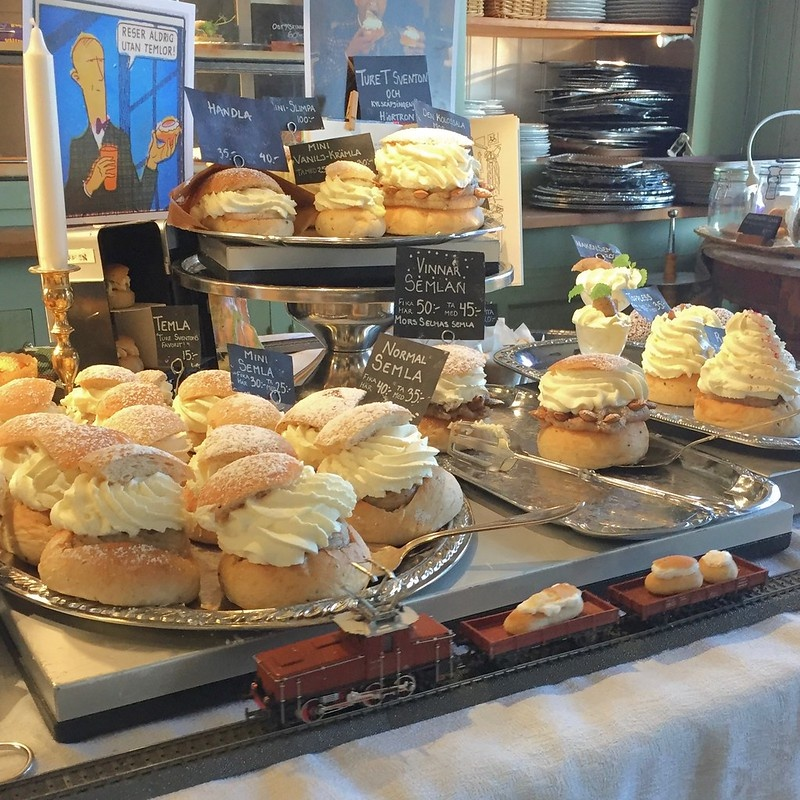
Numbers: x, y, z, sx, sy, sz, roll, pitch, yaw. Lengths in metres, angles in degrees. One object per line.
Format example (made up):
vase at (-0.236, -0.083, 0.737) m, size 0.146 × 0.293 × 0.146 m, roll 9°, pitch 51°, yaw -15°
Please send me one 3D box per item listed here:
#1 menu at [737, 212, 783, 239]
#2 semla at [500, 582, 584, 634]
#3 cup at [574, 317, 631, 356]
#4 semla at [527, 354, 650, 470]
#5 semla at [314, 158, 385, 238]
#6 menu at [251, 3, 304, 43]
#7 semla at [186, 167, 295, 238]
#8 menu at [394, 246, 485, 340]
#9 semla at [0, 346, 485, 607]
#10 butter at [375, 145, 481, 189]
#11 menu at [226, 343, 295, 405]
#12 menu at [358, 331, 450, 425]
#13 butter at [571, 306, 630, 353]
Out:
menu at (1.010, -0.486, 2.203) m, size 0.015 × 0.071 × 0.125 m, roll 18°, pitch 7°, yaw -36°
semla at (0.139, 0.202, 0.778) m, size 0.073 × 0.021 × 0.041 m, roll -14°, pitch 22°, yaw -31°
cup at (0.408, -0.129, 1.617) m, size 0.134 × 0.078 × 0.119 m, roll -3°, pitch 10°, yaw -14°
semla at (0.291, 0.020, 1.251) m, size 0.217 × 0.141 × 0.195 m, roll -10°, pitch 16°, yaw -32°
semla at (-0.091, -0.354, 1.427) m, size 0.204 × 0.135 × 0.166 m, roll -2°, pitch 10°, yaw -2°
menu at (-0.458, -1.423, 2.974) m, size 0.213 × 0.149 × 0.040 m, roll -11°, pitch 21°, yaw -27°
semla at (-0.276, -0.343, 1.379) m, size 0.203 × 0.086 × 0.185 m, roll -4°, pitch 12°, yaw -20°
menu at (0.059, -0.164, 1.207) m, size 0.222 × 0.151 × 0.009 m, roll -1°, pitch 15°, yaw -14°
semla at (-0.191, 0.075, 0.791) m, size 0.364 × 0.086 × 0.265 m, roll 3°, pitch 16°, yaw -1°
butter at (0.045, -0.433, 1.463) m, size 0.179 × 0.088 × 0.106 m, roll -2°, pitch 17°, yaw 1°
menu at (-0.221, -0.037, 1.228) m, size 0.149 × 0.081 × 0.007 m, roll 14°, pitch 34°, yaw 30°
menu at (0.010, -0.028, 1.148) m, size 0.155 × 0.137 × 0.007 m, roll 26°, pitch 5°, yaw 31°
butter at (0.383, -0.145, 1.624) m, size 0.138 × 0.094 × 0.112 m, roll -2°, pitch 7°, yaw -10°
